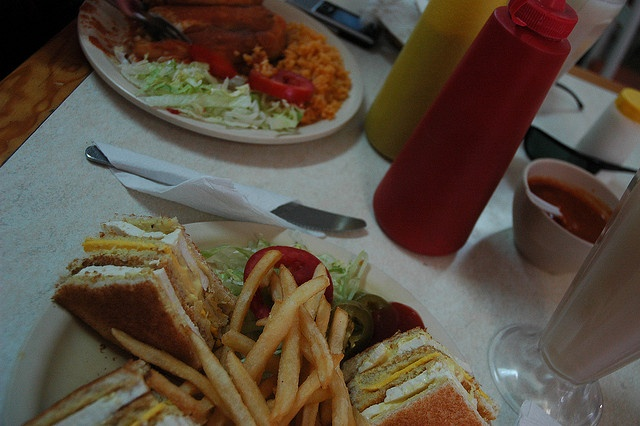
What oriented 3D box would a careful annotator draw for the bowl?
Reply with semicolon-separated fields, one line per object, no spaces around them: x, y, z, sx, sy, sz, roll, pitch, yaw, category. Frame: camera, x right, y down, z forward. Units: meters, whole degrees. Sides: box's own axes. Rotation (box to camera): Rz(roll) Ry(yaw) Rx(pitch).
0.699;-0.012;1.595;0.291;0.235;0.327;26;37;0;bowl

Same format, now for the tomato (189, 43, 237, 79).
-0.360;-0.522;1.744;0.203;0.109;0.124;12;23;35;tomato

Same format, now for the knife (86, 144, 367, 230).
-0.264;-0.061;1.441;0.838;0.143;0.139;17;49;-4;knife
